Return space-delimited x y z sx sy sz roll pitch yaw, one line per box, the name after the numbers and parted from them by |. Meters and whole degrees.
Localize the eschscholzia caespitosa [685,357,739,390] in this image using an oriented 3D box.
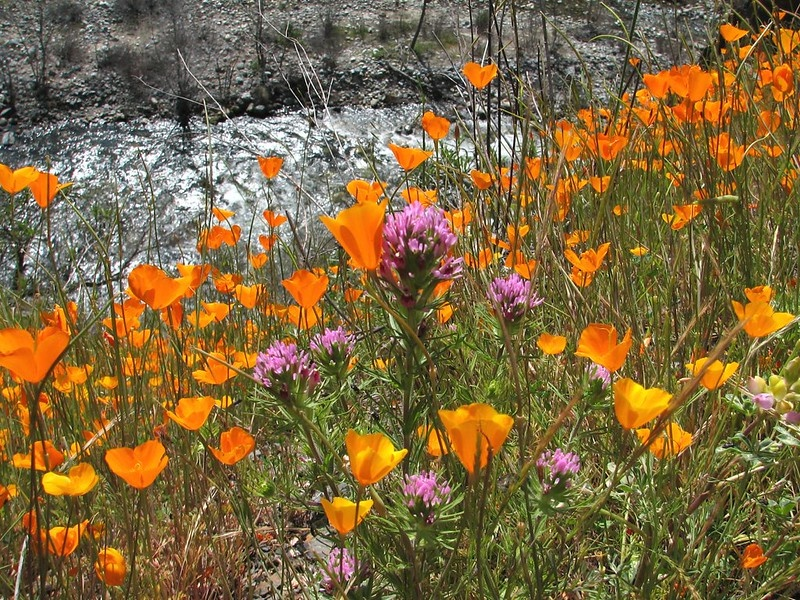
0.902 0.216 2.135 0.123 0.095 0.145 10 0 -14 | eschscholzia caespitosa

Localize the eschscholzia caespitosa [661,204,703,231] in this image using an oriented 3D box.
1.100 -0.319 2.878 0.121 0.069 0.125 -17 -6 -4 | eschscholzia caespitosa

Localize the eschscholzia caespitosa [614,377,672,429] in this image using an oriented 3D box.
0.618 0.276 1.920 0.142 0.160 0.116 -2 19 5 | eschscholzia caespitosa

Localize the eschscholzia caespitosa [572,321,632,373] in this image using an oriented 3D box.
0.566 0.141 2.061 0.135 0.189 0.201 3 21 20 | eschscholzia caespitosa

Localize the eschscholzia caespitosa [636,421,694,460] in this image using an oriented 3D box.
0.767 0.414 2.163 0.133 0.076 0.142 16 28 35 | eschscholzia caespitosa
